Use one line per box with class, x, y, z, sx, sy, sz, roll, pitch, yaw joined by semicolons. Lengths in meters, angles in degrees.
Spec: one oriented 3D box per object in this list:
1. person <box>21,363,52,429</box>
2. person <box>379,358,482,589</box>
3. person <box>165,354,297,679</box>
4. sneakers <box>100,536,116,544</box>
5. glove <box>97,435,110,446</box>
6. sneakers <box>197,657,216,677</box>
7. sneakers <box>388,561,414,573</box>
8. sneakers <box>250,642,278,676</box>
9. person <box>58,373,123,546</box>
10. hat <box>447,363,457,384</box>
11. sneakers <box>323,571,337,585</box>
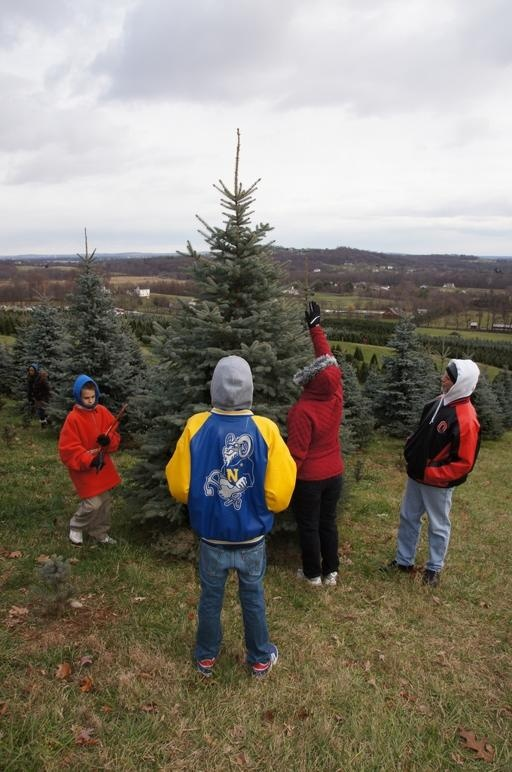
person;-4.772;0.201;12.267;0.461;1.305;1.260;4;4;-22
person;1.672;0.804;5.185;0.627;1.710;0.667;7;4;14
person;-0.184;0.858;3.556;0.809;2.090;0.272;5;4;-8
sneakers;-1.474;1.558;5.630;0.184;0.076;0.061;2;-3;-24
glove;-1.430;0.519;5.270;0.091;0.104;0.112;2;5;3
sneakers;-0.318;1.847;3.638;0.072;0.070;0.154;2;4;-6
sneakers;1.426;1.792;5.557;0.290;0.123;0.098;-1;0;20
sneakers;0.063;1.862;3.775;0.094;0.113;0.254;-3;19;11
person;-1.593;0.745;5.485;0.509;1.698;0.628;6;4;6
hat;1.742;-0.118;4.960;0.083;0.157;0.122;-22;30;-10
sneakers;0.708;1.844;5.338;0.112;0.119;0.125;2;-5;-10
